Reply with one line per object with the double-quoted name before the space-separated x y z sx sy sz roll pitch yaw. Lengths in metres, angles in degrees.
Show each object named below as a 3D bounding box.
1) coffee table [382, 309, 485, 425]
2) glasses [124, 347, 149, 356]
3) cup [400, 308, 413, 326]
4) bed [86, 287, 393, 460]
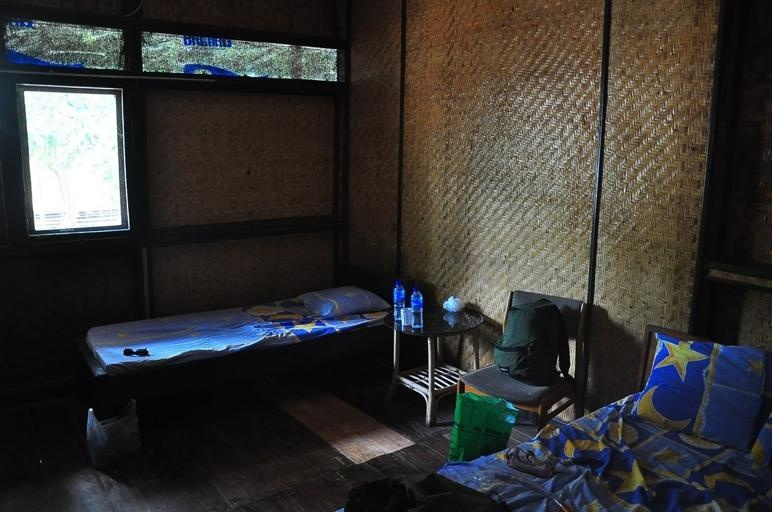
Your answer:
"coffee table" 0.445 0.864 5.227 0.948 0.918 0.893 -5 10 -33
"glasses" -1.998 0.779 4.631 0.137 0.047 0.082 2 0 1
"cup" 0.183 0.525 4.954 0.121 0.165 0.125 0 5 0
"bed" -1.346 0.841 5.127 2.370 0.693 1.209 -3 9 -35
